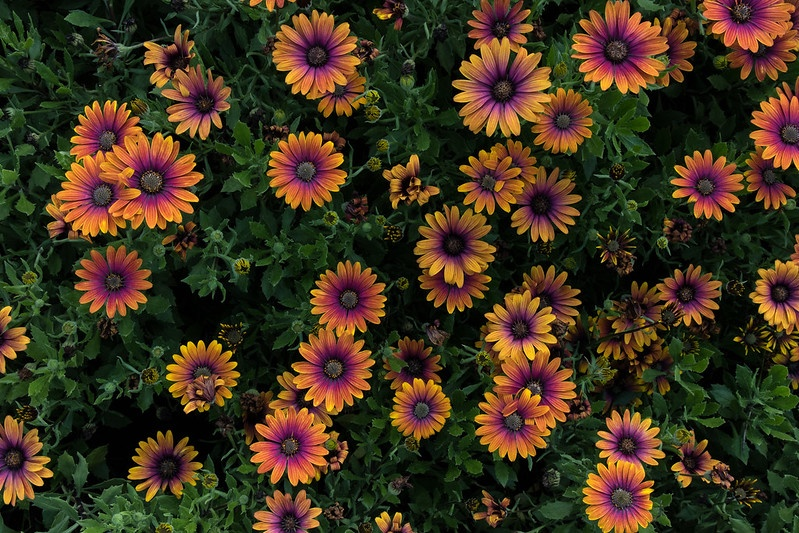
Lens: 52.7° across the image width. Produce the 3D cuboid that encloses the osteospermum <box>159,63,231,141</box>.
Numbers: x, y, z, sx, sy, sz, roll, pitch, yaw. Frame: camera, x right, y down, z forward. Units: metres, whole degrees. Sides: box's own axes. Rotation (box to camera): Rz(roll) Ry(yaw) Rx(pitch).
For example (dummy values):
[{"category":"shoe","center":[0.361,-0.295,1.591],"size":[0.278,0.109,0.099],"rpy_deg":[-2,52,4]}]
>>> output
[{"category":"osteospermum","center":[-0.763,-0.638,3.098],"size":[0.259,0.266,0.096],"rpy_deg":[-13,67,-23]}]

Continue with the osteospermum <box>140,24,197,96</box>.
[{"category":"osteospermum","center":[-0.861,-0.818,3.111],"size":[0.238,0.248,0.104],"rpy_deg":[-22,68,-48]}]

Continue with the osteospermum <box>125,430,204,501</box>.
[{"category":"osteospermum","center":[-0.932,0.779,3.211],"size":[0.274,0.084,0.308],"rpy_deg":[14,31,3]}]

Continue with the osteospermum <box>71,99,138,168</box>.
[{"category":"osteospermum","center":[-1.114,-0.514,3.027],"size":[0.215,0.060,0.244],"rpy_deg":[-12,74,-4]}]

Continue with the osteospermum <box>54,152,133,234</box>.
[{"category":"osteospermum","center":[-1.114,-0.256,2.936],"size":[0.236,0.129,0.289],"rpy_deg":[-2,78,-1]}]

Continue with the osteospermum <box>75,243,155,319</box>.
[{"category":"osteospermum","center":[-1.059,0.058,2.997],"size":[0.264,0.126,0.243],"rpy_deg":[-8,78,-2]}]
